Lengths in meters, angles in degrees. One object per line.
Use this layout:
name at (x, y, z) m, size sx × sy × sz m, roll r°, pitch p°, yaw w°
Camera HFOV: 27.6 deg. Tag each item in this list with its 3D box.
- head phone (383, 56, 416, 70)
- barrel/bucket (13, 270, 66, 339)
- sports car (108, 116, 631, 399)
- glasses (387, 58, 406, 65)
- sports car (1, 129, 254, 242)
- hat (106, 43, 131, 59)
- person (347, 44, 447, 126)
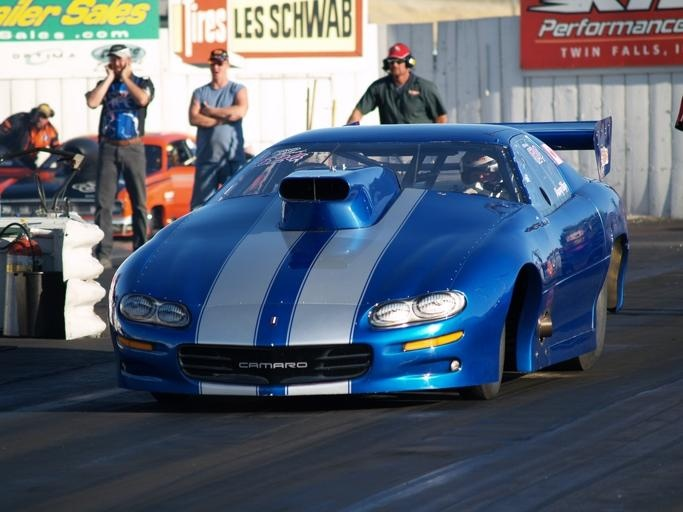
head phone at (0.527, -1.710, 12.199) m, size 0.193 × 0.099 × 0.259 m, roll 3°, pitch 6°, yaw 24°
barrel/bucket at (-2.150, 0.348, 9.680) m, size 0.494 × 0.502 × 0.476 m, roll -2°, pitch -4°, yaw 0°
sports car at (0.440, -0.044, 8.451) m, size 1.625 × 0.885 × 2.777 m, roll -1°, pitch 3°, yaw 25°
glasses at (0.485, -1.706, 12.110) m, size 0.176 × 0.059 × 0.101 m, roll 1°, pitch 10°, yaw 16°
sports car at (-2.687, -0.925, 17.468) m, size 1.630 × 0.757 × 2.405 m, roll 3°, pitch 8°, yaw 22°
hat at (-2.170, -2.062, 13.857) m, size 0.209 × 0.140 × 0.281 m, roll 2°, pitch -7°, yaw 10°
person at (0.468, -1.402, 12.345) m, size 0.909 × 0.944 × 0.556 m, roll -2°, pitch -3°, yaw 11°
